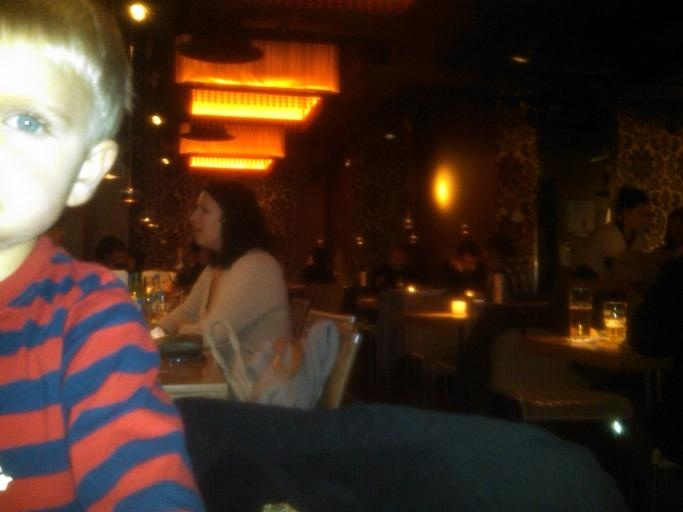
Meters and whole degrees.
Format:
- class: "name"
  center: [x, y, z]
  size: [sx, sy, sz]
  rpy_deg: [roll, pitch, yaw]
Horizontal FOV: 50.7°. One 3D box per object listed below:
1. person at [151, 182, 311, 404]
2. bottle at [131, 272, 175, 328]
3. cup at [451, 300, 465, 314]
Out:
- class: "person"
  center: [-0.487, 0.210, 3.141]
  size: [0.583, 1.041, 0.575]
  rpy_deg: [-8, -2, 20]
- class: "bottle"
  center: [-1.016, 0.235, 3.895]
  size: [0.235, 0.248, 0.133]
  rpy_deg: [4, 17, 15]
- class: "cup"
  center: [0.817, 0.368, 5.047]
  size: [0.093, 0.107, 0.097]
  rpy_deg: [0, -10, 0]
